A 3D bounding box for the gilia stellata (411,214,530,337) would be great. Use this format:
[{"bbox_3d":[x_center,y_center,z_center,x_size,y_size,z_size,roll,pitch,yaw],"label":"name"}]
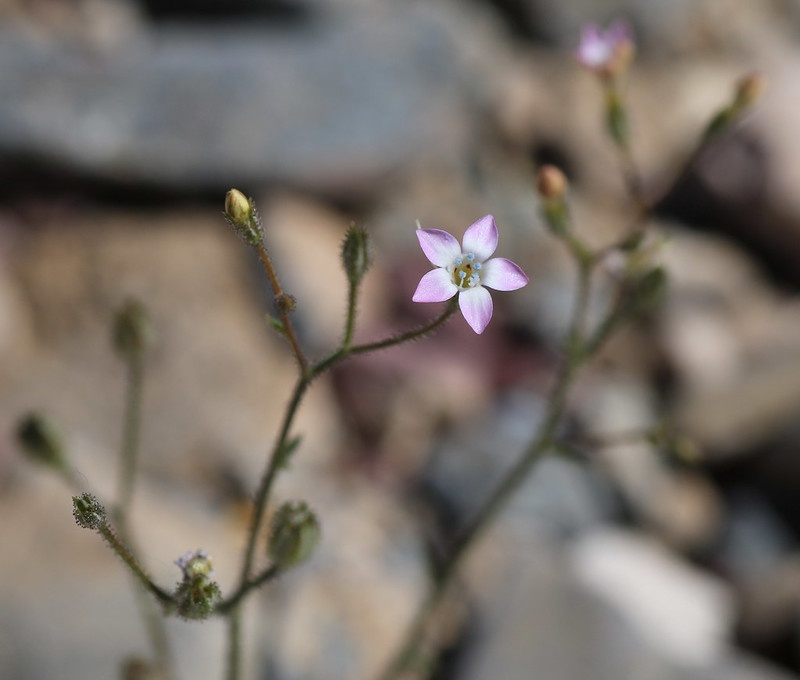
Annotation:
[{"bbox_3d":[0.098,-0.073,1.667,0.163,0.070,0.194,-7,49,-8],"label":"gilia stellata"}]
